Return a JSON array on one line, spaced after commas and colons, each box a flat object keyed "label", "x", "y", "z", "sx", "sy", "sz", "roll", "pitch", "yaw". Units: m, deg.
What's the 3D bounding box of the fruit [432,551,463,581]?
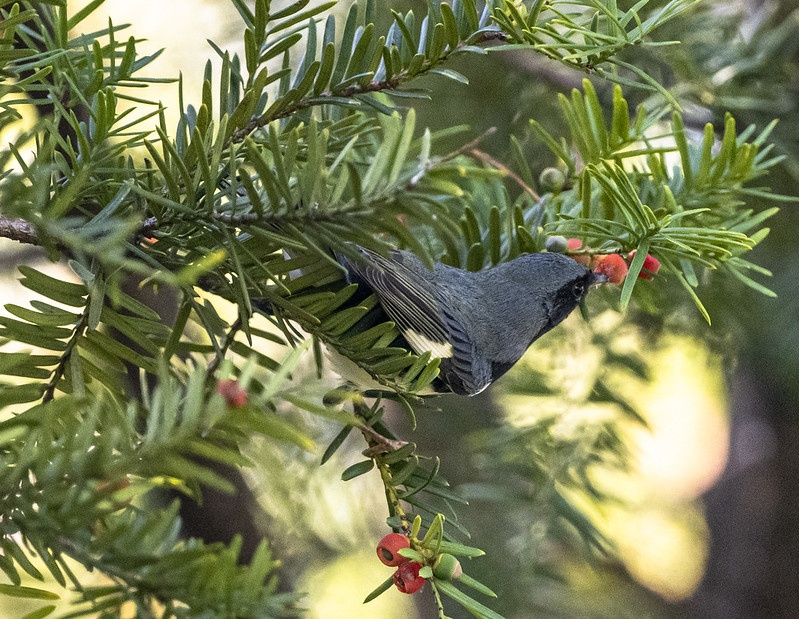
[{"label": "fruit", "x": 0.085, "y": 0.466, "z": 1.694, "sx": 0.053, "sy": 0.045, "sz": 0.076, "roll": 7, "pitch": 17, "yaw": 2}]

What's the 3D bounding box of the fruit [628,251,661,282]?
[{"label": "fruit", "x": 0.530, "y": -0.084, "z": 2.035, "sx": 0.064, "sy": 0.040, "sz": 0.068, "roll": 17, "pitch": -27, "yaw": 6}]

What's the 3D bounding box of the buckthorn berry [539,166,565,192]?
[{"label": "buckthorn berry", "x": 0.361, "y": -0.299, "z": 2.223, "sx": 0.063, "sy": 0.064, "sz": 0.037, "roll": 4, "pitch": 21, "yaw": -12}]

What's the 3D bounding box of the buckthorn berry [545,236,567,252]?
[{"label": "buckthorn berry", "x": 0.363, "y": -0.150, "z": 2.184, "sx": 0.037, "sy": 0.045, "sz": 0.037, "roll": -15, "pitch": -9, "yaw": 1}]

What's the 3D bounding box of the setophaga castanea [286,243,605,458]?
[{"label": "setophaga castanea", "x": 0.135, "y": 0.044, "z": 2.200, "sx": 0.701, "sy": 0.396, "sz": 0.360, "roll": -4, "pitch": 20, "yaw": -31}]
